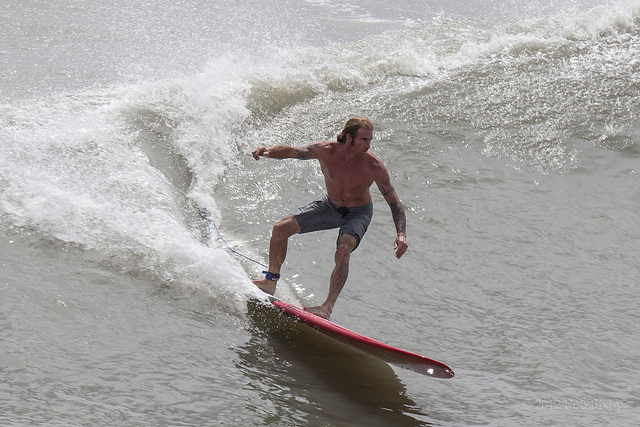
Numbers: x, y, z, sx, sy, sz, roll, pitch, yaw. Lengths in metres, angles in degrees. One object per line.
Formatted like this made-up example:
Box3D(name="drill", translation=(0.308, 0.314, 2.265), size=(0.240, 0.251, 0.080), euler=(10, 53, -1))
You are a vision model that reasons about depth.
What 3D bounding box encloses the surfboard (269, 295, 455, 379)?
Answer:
Box3D(name="surfboard", translation=(0.515, 1.769, 11.526), size=(3.792, 0.383, 0.261), euler=(14, 49, 24))
